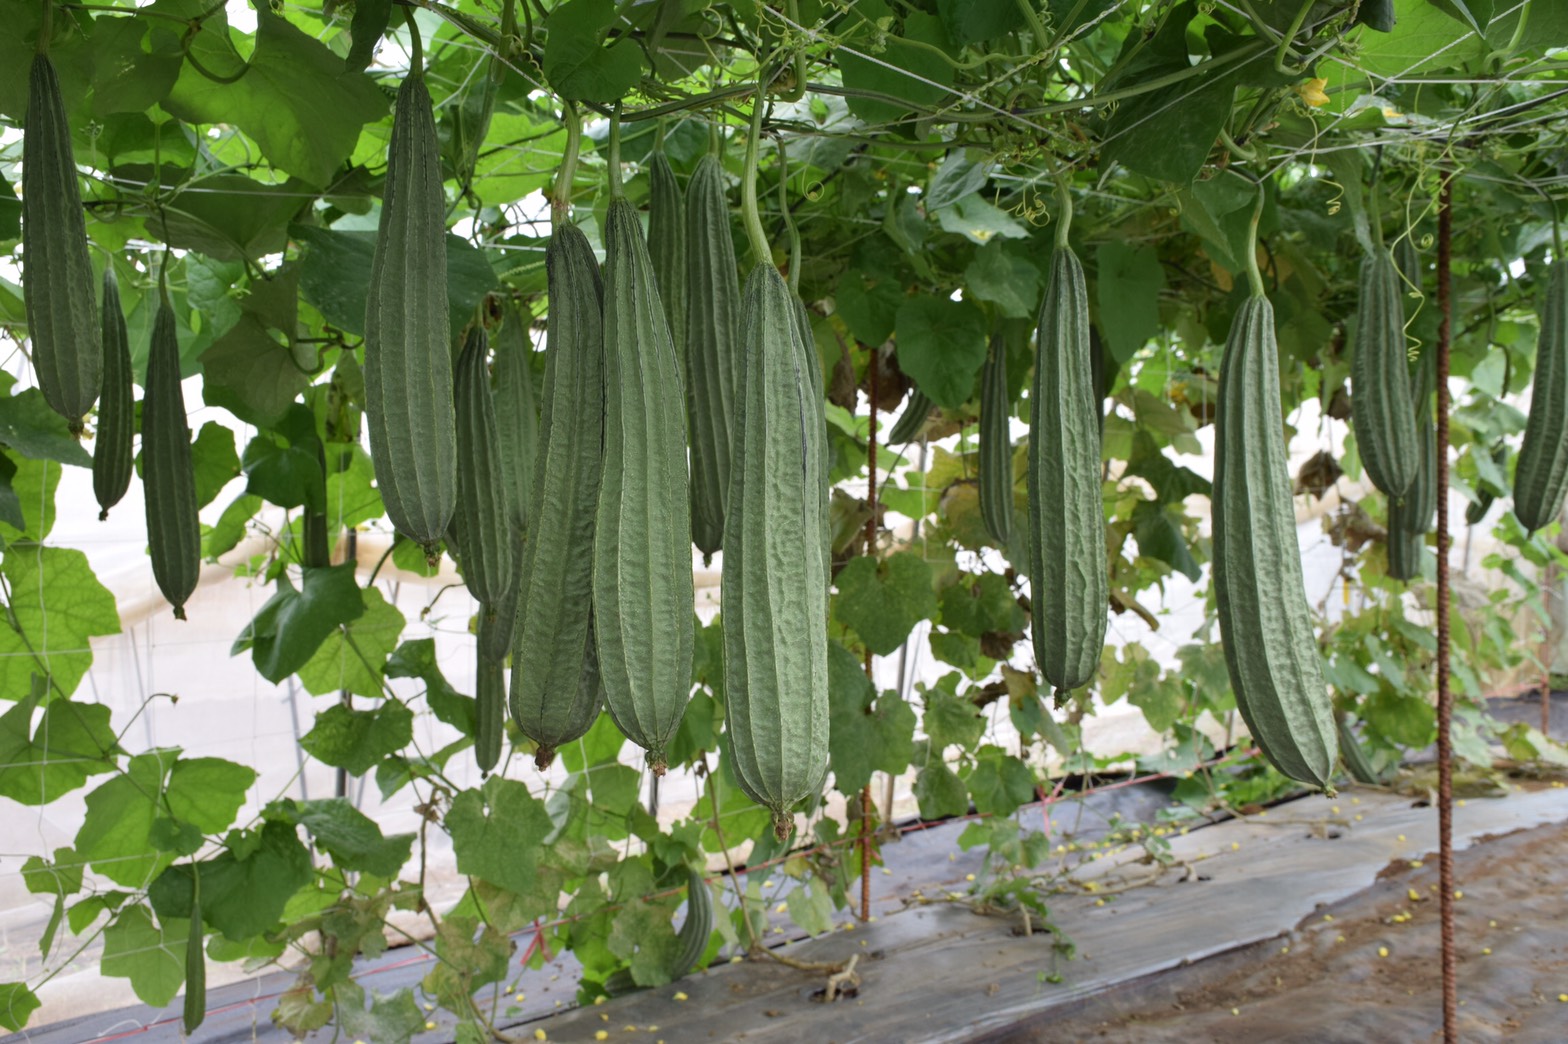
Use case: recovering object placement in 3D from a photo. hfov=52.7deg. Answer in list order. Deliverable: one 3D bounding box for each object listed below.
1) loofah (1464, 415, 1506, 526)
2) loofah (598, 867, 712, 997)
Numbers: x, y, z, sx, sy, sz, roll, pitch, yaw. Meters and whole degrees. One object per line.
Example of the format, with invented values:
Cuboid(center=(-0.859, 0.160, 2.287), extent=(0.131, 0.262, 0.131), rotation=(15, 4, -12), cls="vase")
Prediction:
Cuboid(center=(2.390, -0.198, 5.390), extent=(0.116, 0.137, 0.432), rotation=(25, 41, 7), cls="loofah")
Cuboid(center=(-0.372, 1.080, 4.421), extent=(0.355, 0.520, 0.133), rotation=(-3, 38, -22), cls="loofah")
